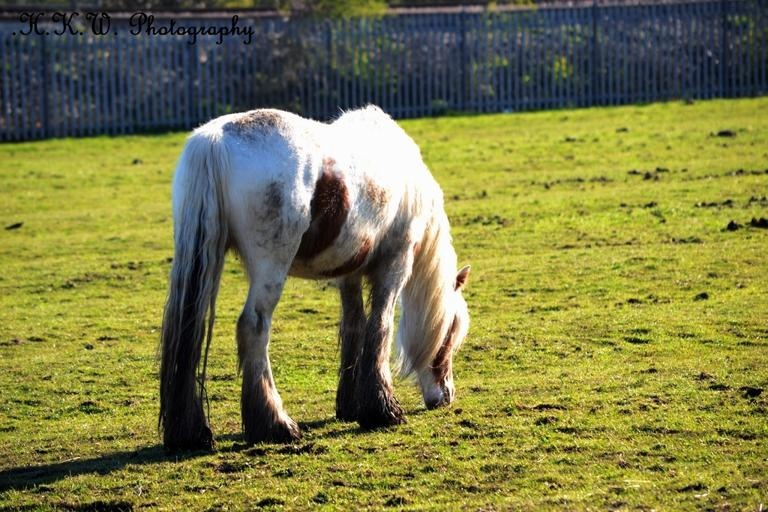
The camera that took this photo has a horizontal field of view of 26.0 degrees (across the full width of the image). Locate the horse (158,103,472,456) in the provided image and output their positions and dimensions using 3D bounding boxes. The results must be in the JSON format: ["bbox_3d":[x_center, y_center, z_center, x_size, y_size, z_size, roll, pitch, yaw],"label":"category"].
[{"bbox_3d":[-0.703,0.211,24.300,1.769,5.289,5.918,4,0,41],"label":"horse"}]
